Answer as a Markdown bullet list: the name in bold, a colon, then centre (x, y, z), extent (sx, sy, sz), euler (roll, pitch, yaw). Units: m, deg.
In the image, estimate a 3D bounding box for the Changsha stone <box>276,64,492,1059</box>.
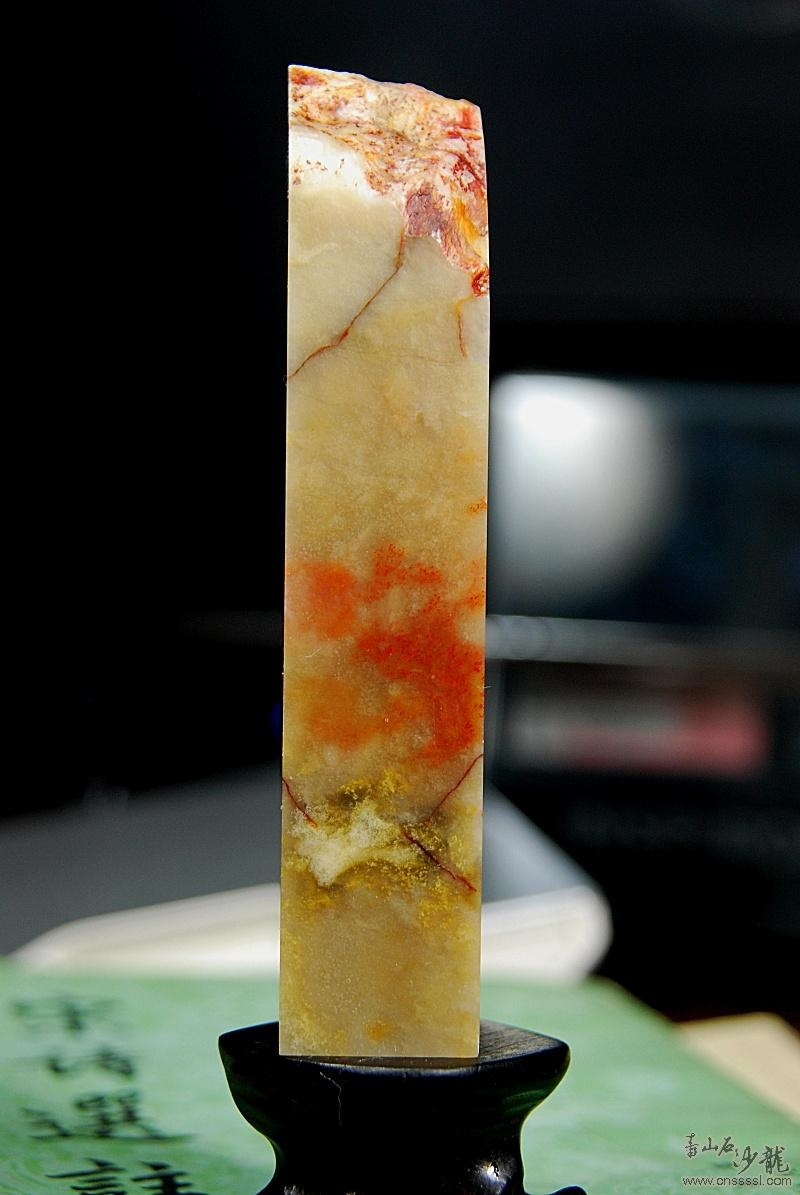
- **Changsha stone**: centre (-0.018, -0.015, 1.581), extent (0.258, 1.082, 0.222), euler (-2, 8, 4)
